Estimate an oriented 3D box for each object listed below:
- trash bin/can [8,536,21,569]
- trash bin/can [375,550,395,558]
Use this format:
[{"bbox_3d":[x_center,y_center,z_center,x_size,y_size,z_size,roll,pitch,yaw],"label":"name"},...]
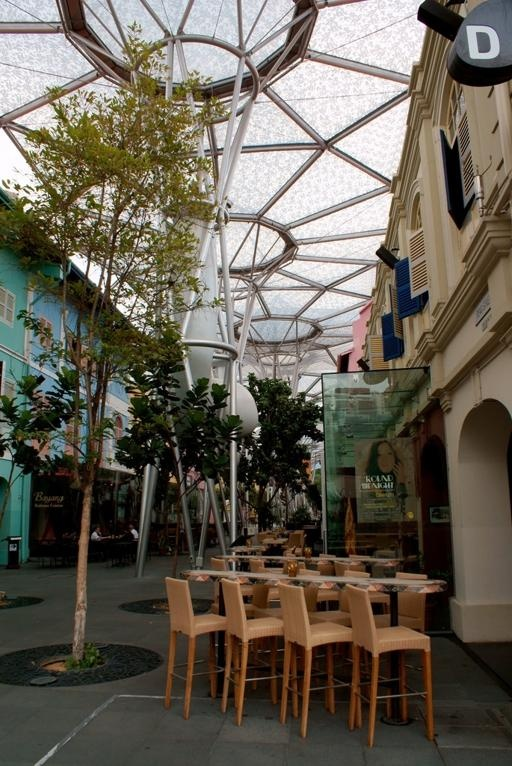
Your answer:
[{"bbox_3d":[-9.323,6.568,20.049,0.484,1.118,0.844,7,-14,-23],"label":"trash bin/can"},{"bbox_3d":[2.231,2.973,8.959,0.245,0.169,0.133,-2,-3,-9],"label":"trash bin/can"}]
